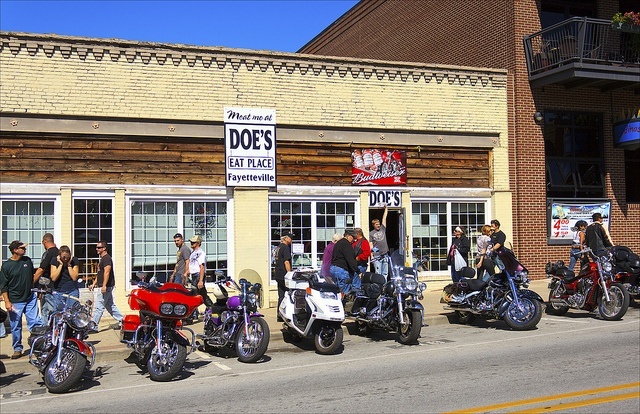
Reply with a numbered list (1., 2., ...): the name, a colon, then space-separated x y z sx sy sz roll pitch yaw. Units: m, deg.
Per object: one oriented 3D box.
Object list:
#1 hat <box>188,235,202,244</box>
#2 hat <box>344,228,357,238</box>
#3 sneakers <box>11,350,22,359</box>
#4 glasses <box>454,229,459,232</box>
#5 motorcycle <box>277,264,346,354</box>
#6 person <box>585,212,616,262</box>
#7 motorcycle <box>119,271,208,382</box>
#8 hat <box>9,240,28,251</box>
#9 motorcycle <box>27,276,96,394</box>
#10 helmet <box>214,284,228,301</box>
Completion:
1. hat: -3.473 0.899 18.627 0.275 0.145 0.186 14 -10 -20
2. hat: 0.846 0.728 18.842 0.273 0.283 0.211 -2 3 -22
3. sneakers: -7.259 3.509 15.839 0.144 0.143 0.362 2 -15 -14
4. glasses: 4.336 0.746 20.979 0.184 0.080 0.211 -1 1 -10
5. motorcycle: -0.158 2.572 16.225 1.603 1.934 0.662 5 11 35
6. person: 8.622 0.712 20.554 0.743 1.212 0.769 -32 29 -34
7. motorcycle: -3.586 2.657 14.915 1.547 2.255 1.020 1 10 21
8. hat: -7.275 0.891 16.089 0.415 0.234 0.280 -16 11 -25
9. motorcycle: -5.582 3.038 14.375 1.263 1.790 0.908 -5 10 -20
10. helmet: -2.406 2.034 16.084 0.315 0.384 0.335 -11 -8 -10
